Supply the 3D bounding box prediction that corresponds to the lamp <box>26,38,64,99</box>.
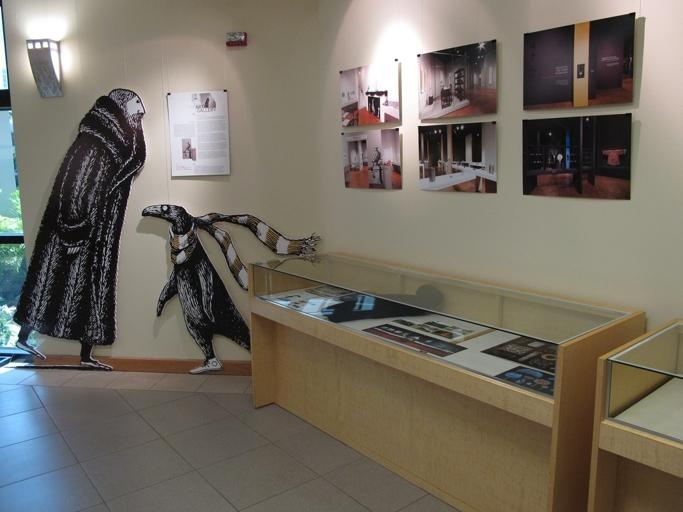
[{"bbox_3d":[-2.726,-1.726,4.254,0.237,0.499,0.140,-2,12,-6],"label":"lamp"}]
